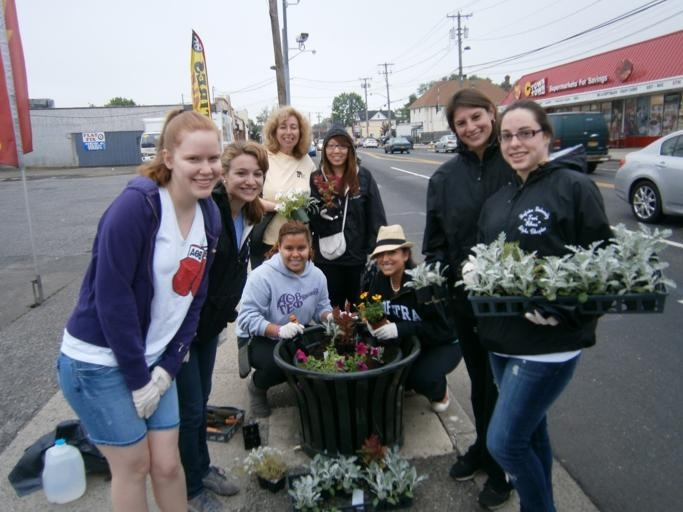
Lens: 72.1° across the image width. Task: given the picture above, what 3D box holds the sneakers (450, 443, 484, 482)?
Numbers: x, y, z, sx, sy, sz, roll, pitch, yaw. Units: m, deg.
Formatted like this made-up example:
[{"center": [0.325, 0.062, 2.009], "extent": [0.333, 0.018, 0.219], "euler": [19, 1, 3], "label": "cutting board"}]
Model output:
[{"center": [0.913, 1.444, 3.310], "extent": [0.347, 0.162, 0.134], "euler": [-6, 9, -27], "label": "sneakers"}]

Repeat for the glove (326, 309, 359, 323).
[{"center": [0.023, 0.488, 3.743], "extent": [0.131, 0.078, 0.184], "euler": [1, -7, 13], "label": "glove"}]

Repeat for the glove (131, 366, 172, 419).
[{"center": [-0.972, 0.704, 2.423], "extent": [0.082, 0.175, 0.229], "euler": [3, 47, 27], "label": "glove"}]

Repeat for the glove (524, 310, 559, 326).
[{"center": [0.982, 0.309, 2.312], "extent": [0.090, 0.050, 0.121], "euler": [3, 0, -16], "label": "glove"}]

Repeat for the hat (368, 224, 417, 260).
[{"center": [0.436, -0.143, 4.009], "extent": [0.269, 0.176, 0.311], "euler": [-18, -5, 21], "label": "hat"}]

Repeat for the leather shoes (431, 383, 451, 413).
[{"center": [0.861, 1.235, 4.061], "extent": [0.114, 0.102, 0.241], "euler": [-10, 15, 26], "label": "leather shoes"}]

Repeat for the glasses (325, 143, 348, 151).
[{"center": [-0.047, -1.074, 4.579], "extent": [0.214, 0.078, 0.082], "euler": [-2, 17, 3], "label": "glasses"}]

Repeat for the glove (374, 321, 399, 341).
[{"center": [0.351, 0.594, 3.661], "extent": [0.150, 0.154, 0.132], "euler": [-3, -19, -15], "label": "glove"}]

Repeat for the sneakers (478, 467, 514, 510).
[{"center": [1.060, 1.531, 3.127], "extent": [0.161, 0.154, 0.365], "euler": [-1, 3, 41], "label": "sneakers"}]

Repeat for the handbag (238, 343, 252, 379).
[{"center": [-0.839, 0.900, 4.045], "extent": [0.065, 0.266, 0.258], "euler": [-2, -5, -7], "label": "handbag"}]

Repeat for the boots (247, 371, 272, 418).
[{"center": [-0.735, 1.249, 4.122], "extent": [0.177, 0.364, 0.500], "euler": [8, -5, -22], "label": "boots"}]
